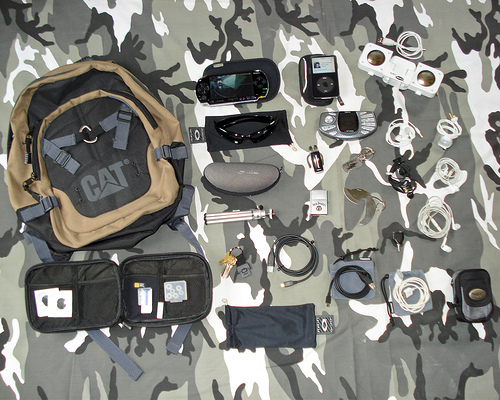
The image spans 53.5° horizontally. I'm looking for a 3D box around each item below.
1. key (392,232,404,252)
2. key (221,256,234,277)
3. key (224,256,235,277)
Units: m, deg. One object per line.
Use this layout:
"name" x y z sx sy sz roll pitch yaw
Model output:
"key" 1.255 0.361 4.225 0.072 0.161 0.041 -1 4 14
"key" -0.204 0.562 4.216 0.052 0.218 0.047 31 4 -7
"key" -0.177 0.564 4.211 0.022 0.173 0.037 26 11 -19
